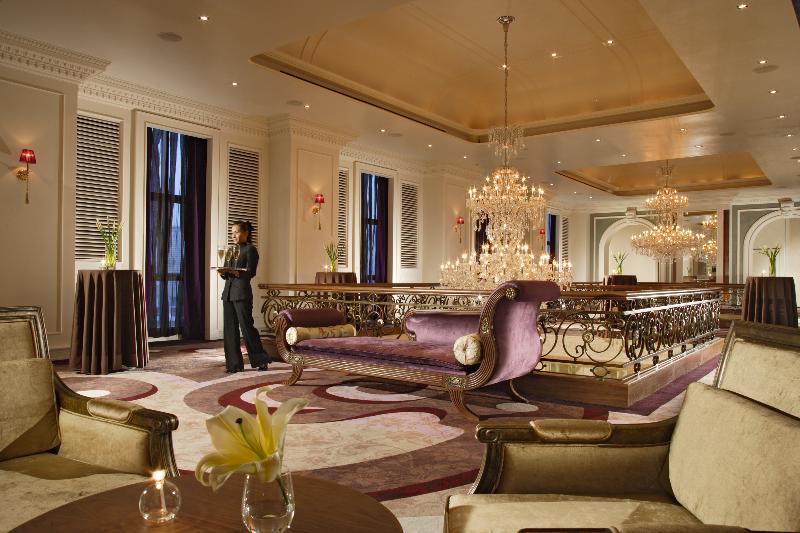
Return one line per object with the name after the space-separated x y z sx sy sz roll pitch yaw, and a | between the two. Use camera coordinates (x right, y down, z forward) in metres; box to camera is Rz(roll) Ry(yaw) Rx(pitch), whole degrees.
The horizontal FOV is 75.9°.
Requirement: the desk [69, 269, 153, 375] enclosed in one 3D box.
-3.740 0.656 6.868 1.182 1.542 1.216 -2 -2 44 | desk

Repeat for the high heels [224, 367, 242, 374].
-2.002 1.230 6.120 0.215 0.095 0.071 -3 -3 29 | high heels

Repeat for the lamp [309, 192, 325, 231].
-1.487 -1.055 9.515 0.299 0.679 0.166 -1 2 -44 | lamp

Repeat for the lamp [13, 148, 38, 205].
-4.617 -1.132 6.332 0.216 0.674 0.156 0 2 -39 | lamp

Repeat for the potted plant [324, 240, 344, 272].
-1.307 -0.217 9.715 0.237 0.551 0.461 0 1 -11 | potted plant

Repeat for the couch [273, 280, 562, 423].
-0.004 0.782 5.276 3.049 1.131 0.913 -3 -6 39 | couch

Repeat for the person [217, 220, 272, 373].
-1.882 0.334 6.202 0.557 1.831 0.551 0 1 -16 | person

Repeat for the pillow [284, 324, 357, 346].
-0.853 0.697 5.494 0.711 0.191 0.182 0 -28 -35 | pillow

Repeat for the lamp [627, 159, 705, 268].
6.716 -1.329 12.873 1.384 2.585 4.427 1 2 29 | lamp

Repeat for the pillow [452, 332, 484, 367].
0.606 0.684 4.442 0.264 0.253 0.365 14 7 16 | pillow
